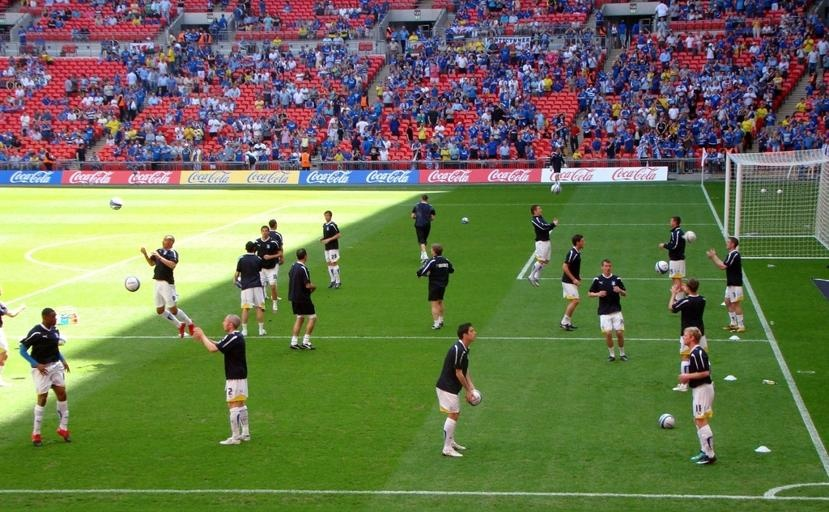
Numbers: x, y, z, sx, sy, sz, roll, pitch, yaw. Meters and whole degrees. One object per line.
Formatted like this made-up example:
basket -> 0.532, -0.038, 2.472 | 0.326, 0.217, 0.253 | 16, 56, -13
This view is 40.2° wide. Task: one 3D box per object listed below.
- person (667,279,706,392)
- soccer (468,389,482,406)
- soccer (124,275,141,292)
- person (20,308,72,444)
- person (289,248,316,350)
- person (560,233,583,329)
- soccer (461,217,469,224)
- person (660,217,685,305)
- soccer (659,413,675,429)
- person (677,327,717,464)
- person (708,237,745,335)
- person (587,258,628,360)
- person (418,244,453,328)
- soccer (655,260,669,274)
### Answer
person -> 8.364, 2.446, 35.531 | 1.197, 3.504, 1.290 | 8, 11, 38
soccer -> 1.697, 3.968, 32.178 | 0.322, 0.447, 0.602 | 0, 12, 6
soccer -> -10.205, 1.008, 41.082 | 0.535, 0.410, 0.440 | 8, -8, 31
person -> -10.753, 3.518, 33.158 | 1.174, 3.875, 0.960 | -5, 13, -16
person -> -3.649, 1.441, 37.774 | 1.111, 3.307, 1.254 | 4, -4, -39
person -> 5.475, 0.854, 39.172 | 0.975, 3.297, 0.696 | -1, 1, -4
soccer -> 2.375, -1.622, 51.953 | 0.328, 0.231, 0.329 | 0, 6, -6
person -> 9.381, 0.140, 41.480 | 1.063, 3.278, 1.157 | 0, -2, 29
soccer -> 7.447, 4.857, 33.581 | 0.474, 0.387, 0.451 | 0, 12, 8
person -> 8.089, 3.992, 32.569 | 1.243, 3.838, 1.352 | -1, -5, 13
person -> 10.713, 1.005, 38.907 | 1.367, 3.217, 1.058 | 0, -2, 33
person -> 6.318, 1.765, 36.637 | 1.308, 3.283, 0.970 | -2, -4, 4
person -> 0.753, 1.045, 39.129 | 1.239, 2.872, 1.031 | 0, 0, 5
soccer -> 9.106, 0.424, 41.709 | 0.435, 0.356, 0.447 | -2, -22, -38
